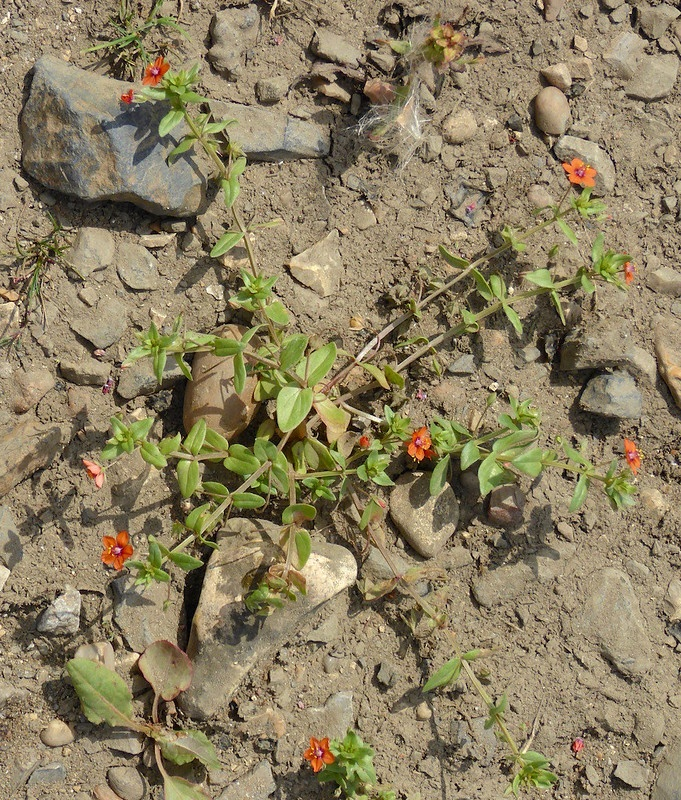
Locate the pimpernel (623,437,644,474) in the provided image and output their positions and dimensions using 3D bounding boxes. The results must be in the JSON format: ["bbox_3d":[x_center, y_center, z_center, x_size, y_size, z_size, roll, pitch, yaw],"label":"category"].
[{"bbox_3d":[1.281,0.247,3.878,0.112,0.075,0.168,-1,83,-57],"label":"pimpernel"}]

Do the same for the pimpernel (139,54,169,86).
[{"bbox_3d":[-0.742,-1.345,3.587,0.095,0.097,0.142,12,62,-4],"label":"pimpernel"}]
